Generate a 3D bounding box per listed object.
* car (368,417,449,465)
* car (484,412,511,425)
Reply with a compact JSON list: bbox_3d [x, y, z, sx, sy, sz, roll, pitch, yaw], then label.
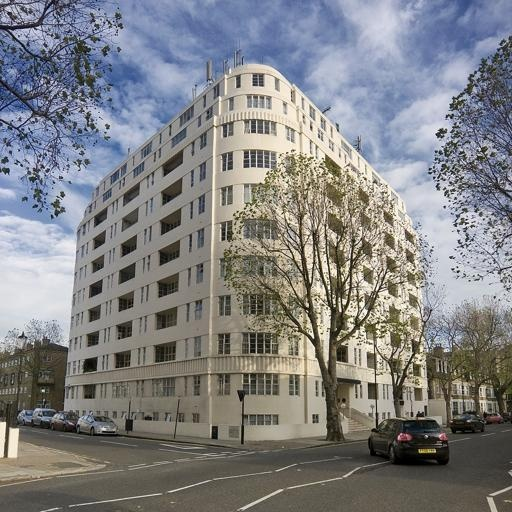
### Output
[{"bbox_3d":[5.141,6.253,16.602,1.547,1.130,3.083,1,-14,-1],"label":"car"},{"bbox_3d":[32.305,22.422,65.280,1.975,1.455,3.898,-13,-23,30],"label":"car"}]
